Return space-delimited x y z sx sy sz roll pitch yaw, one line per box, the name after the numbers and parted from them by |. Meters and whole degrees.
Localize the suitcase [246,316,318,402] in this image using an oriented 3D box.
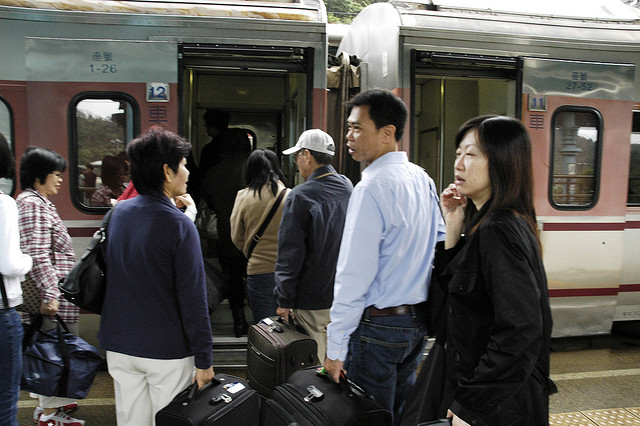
-0.374 1.477 5.626 0.542 0.857 0.661 -8 19 -34 | suitcase

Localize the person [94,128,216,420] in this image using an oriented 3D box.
-1.339 0.507 4.560 0.899 2.320 0.378 -3 6 -10 | person

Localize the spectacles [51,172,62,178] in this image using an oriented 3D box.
-2.593 -0.380 5.739 0.055 0.060 0.174 -3 5 -7 | spectacles

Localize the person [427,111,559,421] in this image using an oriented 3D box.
1.152 0.378 3.998 0.827 2.110 0.731 1 7 31 | person

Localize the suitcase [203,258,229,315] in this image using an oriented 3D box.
-1.203 0.872 6.873 0.278 0.520 0.765 -3 5 -11 | suitcase

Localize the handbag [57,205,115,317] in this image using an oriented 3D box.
-1.803 0.345 4.719 0.473 0.824 0.621 11 15 -11 | handbag

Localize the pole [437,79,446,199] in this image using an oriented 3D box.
1.934 -1.255 9.225 0.152 1.763 0.311 -1 6 11 | pole

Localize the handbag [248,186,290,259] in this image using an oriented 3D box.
-0.519 0.113 5.857 0.097 0.834 0.133 35 8 5 | handbag
